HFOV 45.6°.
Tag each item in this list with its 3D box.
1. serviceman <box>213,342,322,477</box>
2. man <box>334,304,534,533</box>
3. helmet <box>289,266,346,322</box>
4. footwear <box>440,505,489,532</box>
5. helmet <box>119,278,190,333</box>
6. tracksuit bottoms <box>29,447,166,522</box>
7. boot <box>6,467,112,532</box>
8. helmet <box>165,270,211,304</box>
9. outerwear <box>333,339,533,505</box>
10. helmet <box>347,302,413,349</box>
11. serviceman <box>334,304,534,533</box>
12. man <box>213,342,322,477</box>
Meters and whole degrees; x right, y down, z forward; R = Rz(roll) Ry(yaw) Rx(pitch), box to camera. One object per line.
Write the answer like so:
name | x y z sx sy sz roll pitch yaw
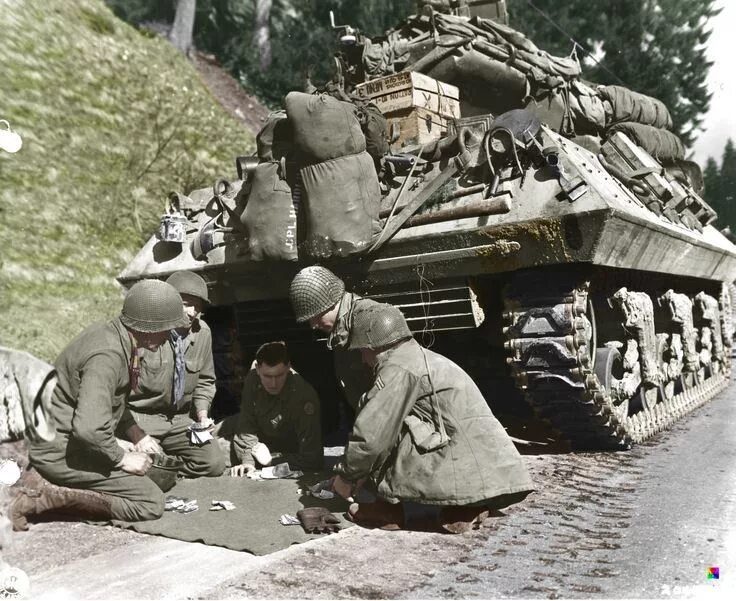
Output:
serviceman | -0.852 1.003 7.946 0.820 1.219 0.915 11 19 28
man | 0.495 1.006 6.863 1.562 1.744 1.258 0 -6 24
helmet | -0.393 -0.070 6.801 0.470 0.406 0.370 -19 4 -26
footwear | 0.678 1.604 6.355 0.225 0.082 0.240 -28 -8 27
helmet | -1.667 0.039 6.742 0.400 0.265 0.380 1 3 40
tracksuit bottoms | -2.043 1.396 6.673 0.716 0.238 0.638 22 -7 0
boot | -2.340 1.542 6.696 0.505 0.274 0.537 1 -6 -1
helmet | -1.675 -0.133 8.175 0.342 0.203 0.258 22 -8 11
outerwear | 0.499 0.955 6.662 1.358 1.274 1.092 -7 -11 27
helmet | 0.089 0.195 6.579 0.300 0.342 0.393 -4 9 -42
serviceman | 0.503 0.889 6.739 1.470 1.639 1.203 0 0 11
man | -0.872 0.984 7.988 0.756 1.208 0.867 -6 19 -23
